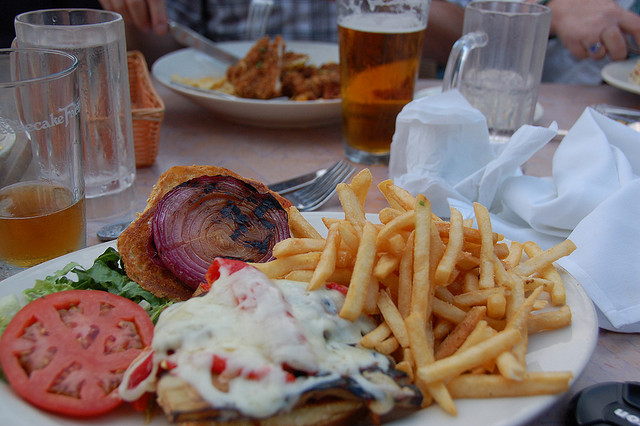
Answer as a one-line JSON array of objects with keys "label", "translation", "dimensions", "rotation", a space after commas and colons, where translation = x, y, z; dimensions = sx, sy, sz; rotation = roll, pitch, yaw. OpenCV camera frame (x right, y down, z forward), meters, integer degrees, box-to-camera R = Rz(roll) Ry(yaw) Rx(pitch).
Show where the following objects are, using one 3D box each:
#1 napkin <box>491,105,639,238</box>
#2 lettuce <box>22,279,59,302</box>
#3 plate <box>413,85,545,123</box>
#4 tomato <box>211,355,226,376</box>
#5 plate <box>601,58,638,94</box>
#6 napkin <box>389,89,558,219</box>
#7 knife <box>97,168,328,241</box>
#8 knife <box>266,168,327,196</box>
[{"label": "napkin", "translation": [1.059, -0.149, 2.191], "dimensions": [0.598, 0.533, 0.454], "rotation": [-1, 1, 7]}, {"label": "lettuce", "translation": [-0.888, 0.231, 1.554], "dimensions": [0.066, 0.020, 0.070], "rotation": [16, 42, -1]}, {"label": "plate", "translation": [0.777, -0.524, 2.401], "dimensions": [0.314, 0.180, 0.552], "rotation": [-14, 21, -34]}, {"label": "tomato", "translation": [-0.259, 0.392, 1.283], "dimensions": [0.032, 0.038, 0.029], "rotation": [6, 27, 11]}, {"label": "plate", "translation": [1.962, -0.886, 3.246], "dimensions": [0.277, 0.059, 0.275], "rotation": [-26, 40, -22]}, {"label": "napkin", "translation": [0.635, -0.220, 2.265], "dimensions": [0.583, 0.651, 0.558], "rotation": [-1, -2, -16]}, {"label": "knife", "translation": [-0.420, -0.024, 1.888], "dimensions": [0.946, 0.104, 0.060], "rotation": [-16, 4, -8]}, {"label": "knife", "translation": [-0.104, -0.139, 2.269], "dimensions": [0.042, 0.043, 0.363], "rotation": [39, 40, 26]}]
